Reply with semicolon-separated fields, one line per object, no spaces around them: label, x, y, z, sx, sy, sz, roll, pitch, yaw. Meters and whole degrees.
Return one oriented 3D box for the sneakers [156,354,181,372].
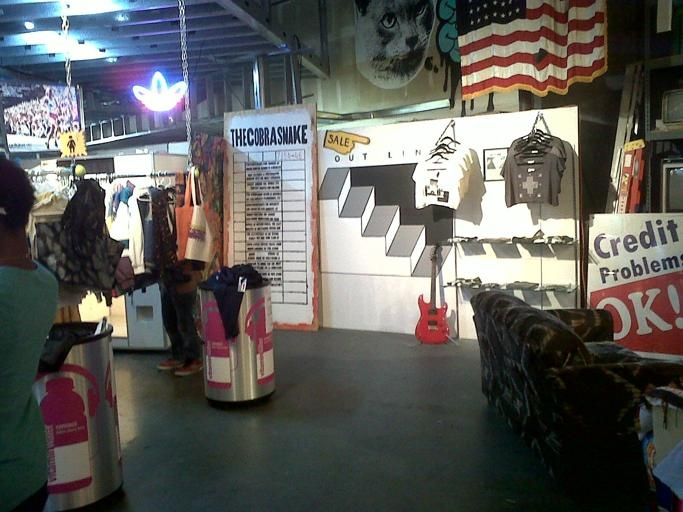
sneakers;-1.950;1.225;6.045;0.324;0.156;0.136;1;4;0

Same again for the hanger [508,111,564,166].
hanger;2.321;-1.361;6.256;0.604;0.719;0.093;0;-6;18

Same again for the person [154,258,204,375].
person;-1.797;0.670;5.821;0.527;1.289;0.362;1;9;16

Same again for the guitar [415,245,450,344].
guitar;1.165;0.481;6.799;0.430;1.202;0.469;0;9;12

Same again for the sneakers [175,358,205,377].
sneakers;-1.686;1.226;5.908;0.317;0.161;0.124;-4;15;-23

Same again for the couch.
couch;1.720;0.454;3.859;0.921;0.915;1.737;-6;8;-3
